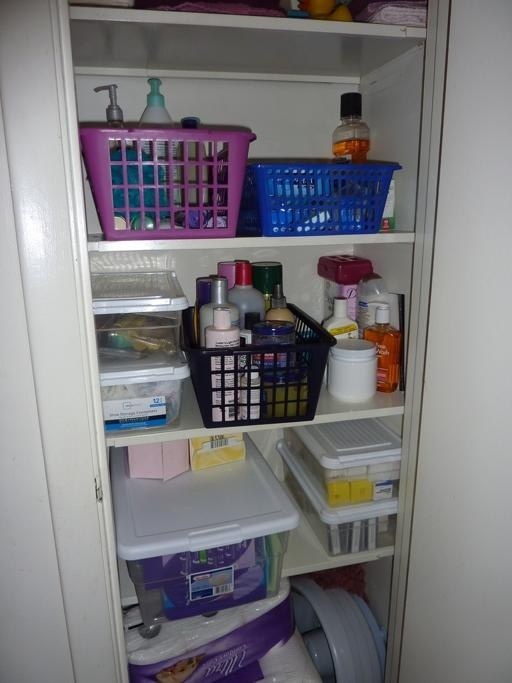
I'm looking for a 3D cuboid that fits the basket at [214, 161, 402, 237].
[{"bbox_3d":[0.114,-0.267,1.018,0.195,0.109,0.253,0,17,-11],"label":"basket"}]

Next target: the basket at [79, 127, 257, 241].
[{"bbox_3d":[-0.155,-0.259,0.987,0.302,0.166,0.202,-9,16,-30],"label":"basket"}]

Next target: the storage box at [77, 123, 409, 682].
[{"bbox_3d":[-0.037,-0.042,1.171,0.568,0.691,0.728,-3,26,-14],"label":"storage box"}]

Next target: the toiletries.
[{"bbox_3d":[-0.013,0.012,1.096,0.176,0.127,0.262,-3,23,-6],"label":"toiletries"}]
